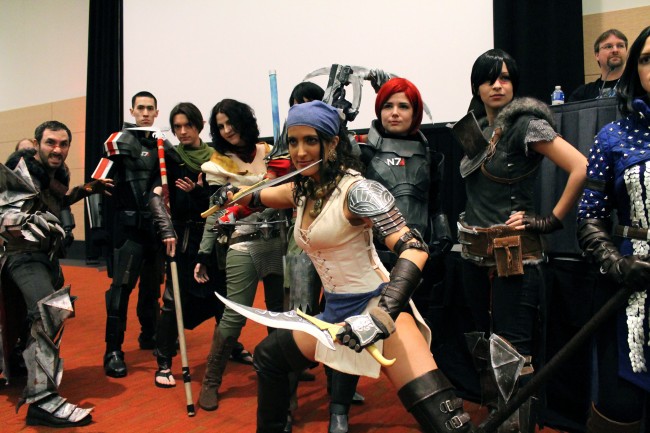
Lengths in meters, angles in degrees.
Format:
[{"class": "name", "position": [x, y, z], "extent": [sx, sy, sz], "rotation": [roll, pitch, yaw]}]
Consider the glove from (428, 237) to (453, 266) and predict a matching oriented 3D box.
[{"class": "glove", "position": [0.936, 0.270, 4.256], "extent": [0.171, 0.232, 0.085], "rotation": [21, -13, -12]}]

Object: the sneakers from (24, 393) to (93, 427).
[{"class": "sneakers", "position": [-2.141, 1.545, 4.228], "extent": [0.504, 0.213, 0.245], "rotation": [1, 1, 0]}]

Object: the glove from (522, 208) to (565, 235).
[{"class": "glove", "position": [1.534, 0.033, 3.679], "extent": [0.205, 0.070, 0.159], "rotation": [9, -1, 40]}]

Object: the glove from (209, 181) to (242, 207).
[{"class": "glove", "position": [-0.742, -0.159, 3.860], "extent": [0.214, 0.158, 0.137], "rotation": [-2, 8, -9]}]

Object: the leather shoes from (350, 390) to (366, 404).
[{"class": "leather shoes", "position": [0.284, 1.554, 4.507], "extent": [0.077, 0.077, 0.236], "rotation": [6, -8, -10]}]

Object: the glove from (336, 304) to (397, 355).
[{"class": "glove", "position": [0.232, 0.639, 2.976], "extent": [0.326, 0.199, 0.101], "rotation": [-24, -23, -15]}]
